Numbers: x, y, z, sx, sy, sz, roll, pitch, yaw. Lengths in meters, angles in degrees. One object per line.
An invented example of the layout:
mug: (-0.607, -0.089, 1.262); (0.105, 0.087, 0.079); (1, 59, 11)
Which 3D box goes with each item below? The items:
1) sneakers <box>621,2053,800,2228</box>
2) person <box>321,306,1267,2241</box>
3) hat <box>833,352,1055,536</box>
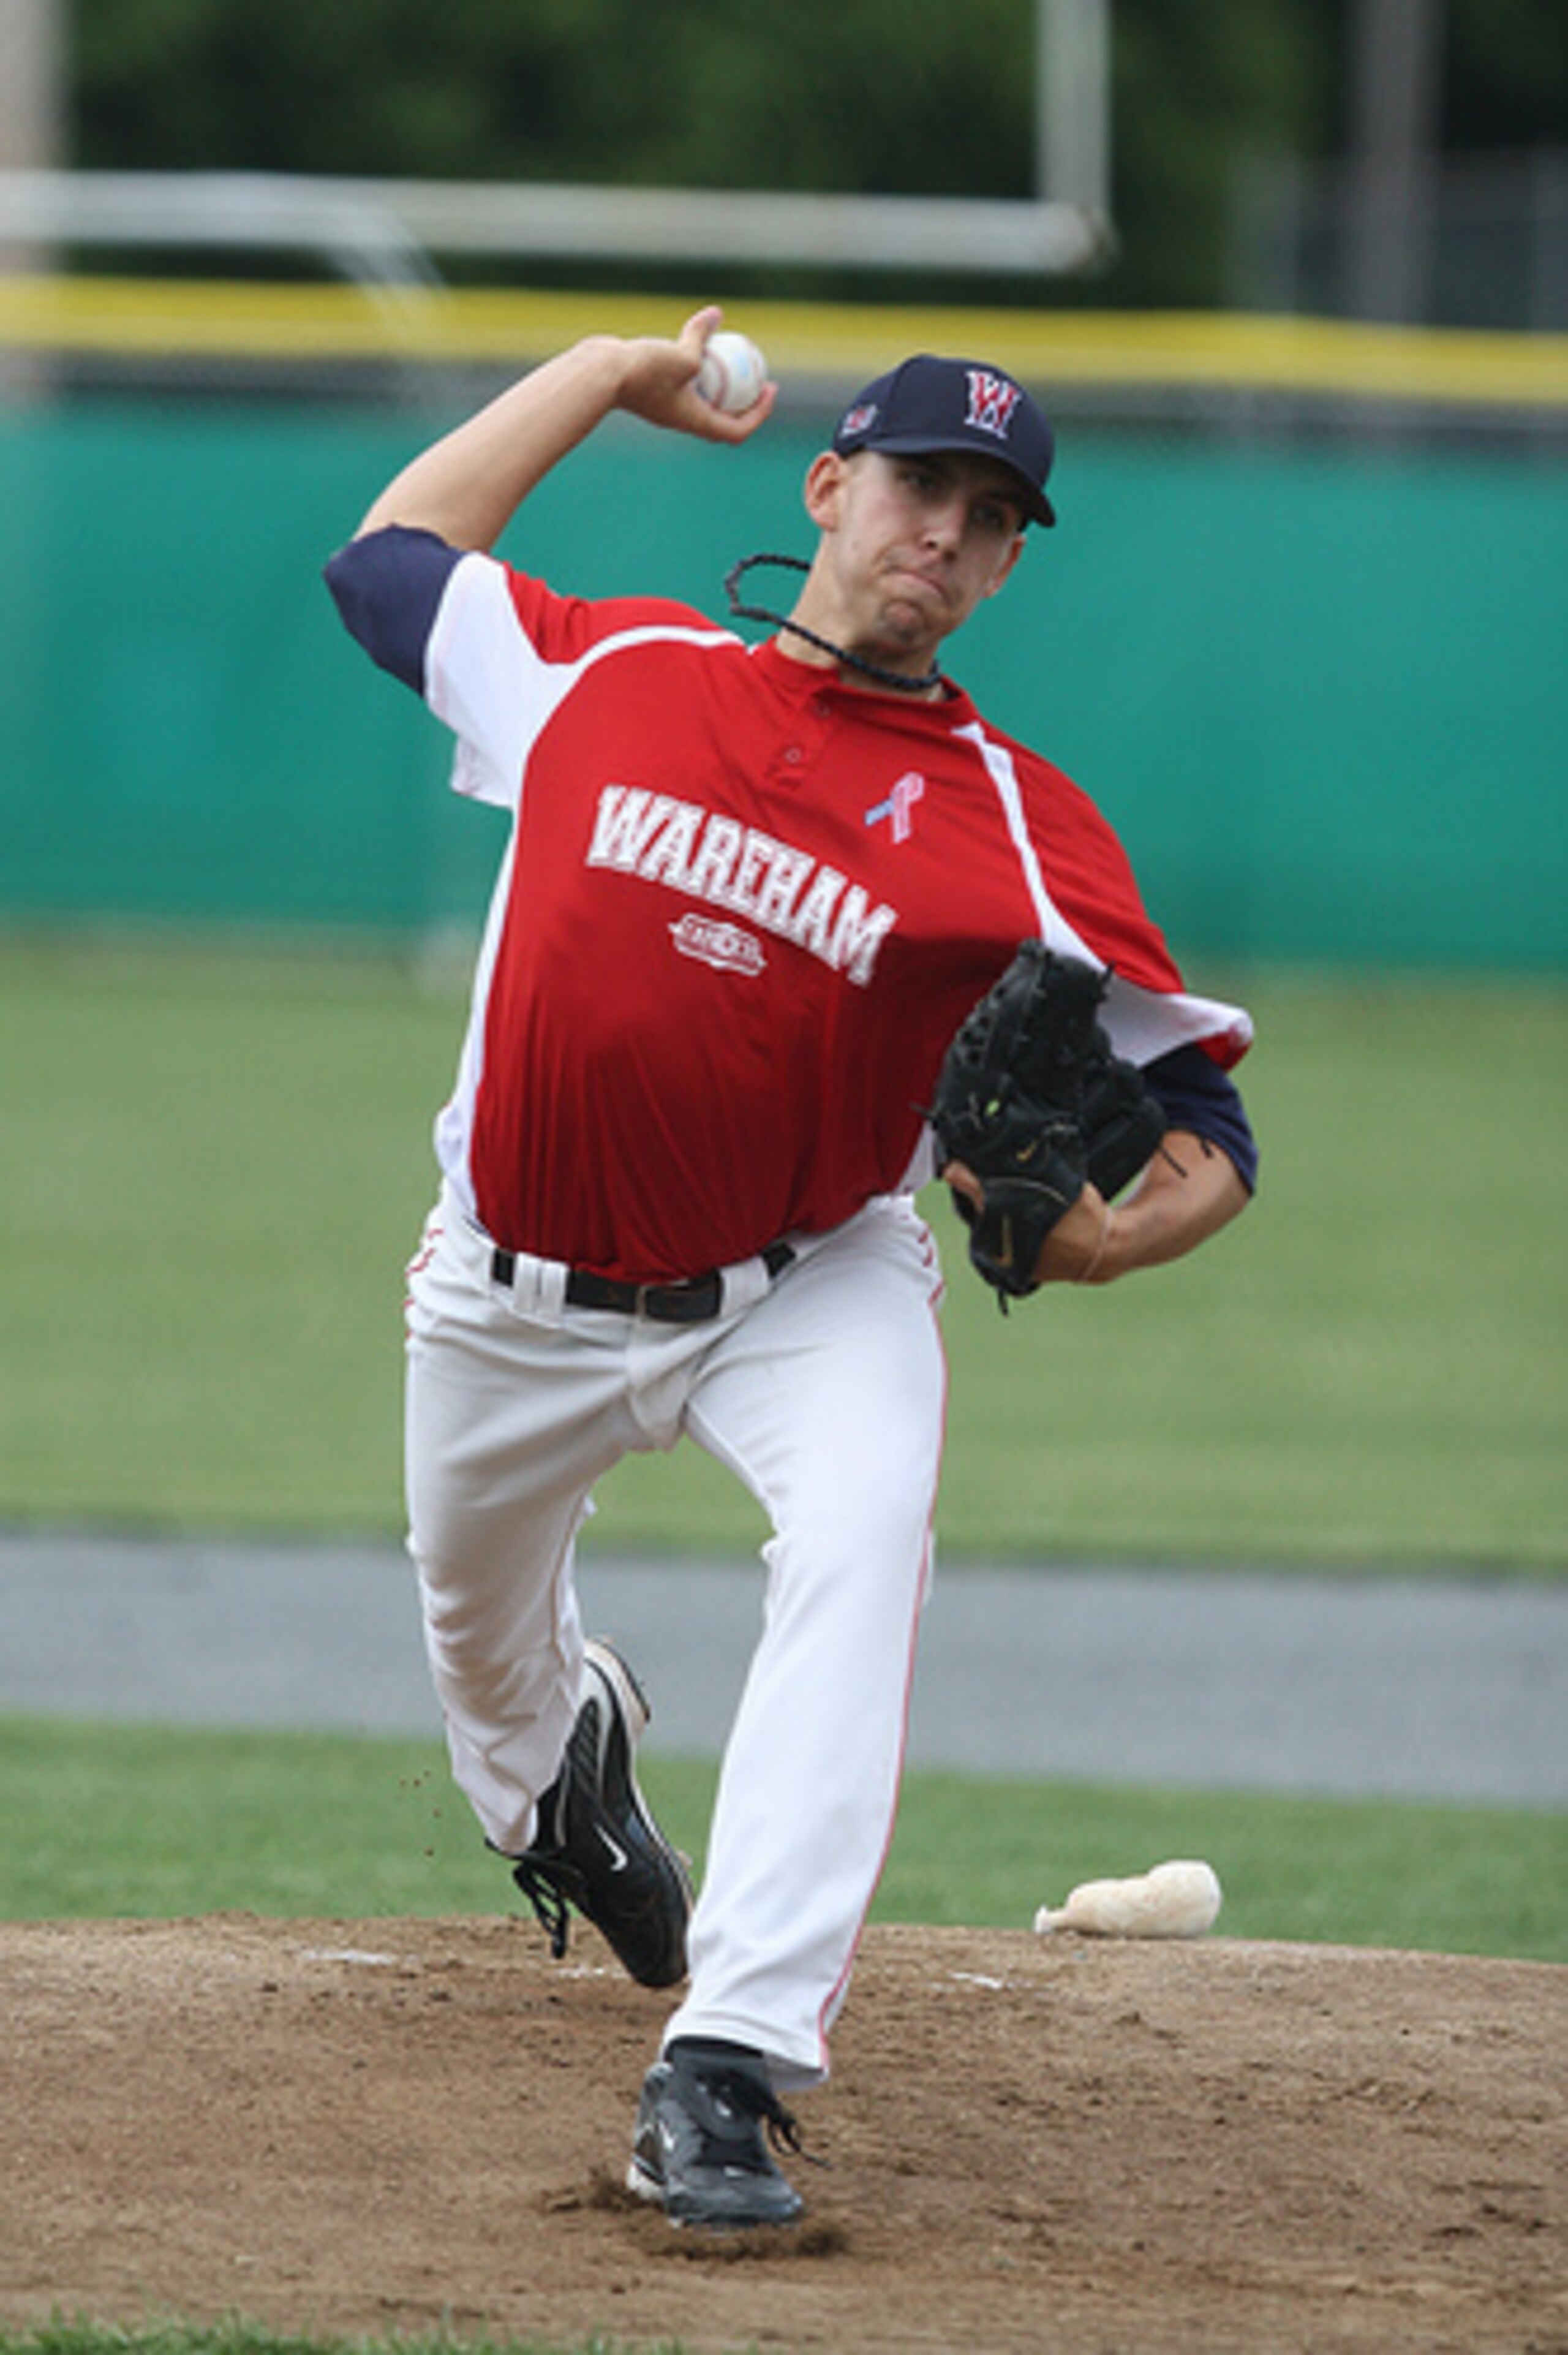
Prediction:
sneakers: (-0.052, 0.797, 2.667); (0.146, 0.153, 0.167); (4, 0, -15)
person: (-0.023, -0.007, 3.093); (0.645, 1.823, 0.894); (4, 0, -38)
hat: (0.173, -0.743, 3.069); (0.187, 0.112, 0.239); (8, 11, -24)
